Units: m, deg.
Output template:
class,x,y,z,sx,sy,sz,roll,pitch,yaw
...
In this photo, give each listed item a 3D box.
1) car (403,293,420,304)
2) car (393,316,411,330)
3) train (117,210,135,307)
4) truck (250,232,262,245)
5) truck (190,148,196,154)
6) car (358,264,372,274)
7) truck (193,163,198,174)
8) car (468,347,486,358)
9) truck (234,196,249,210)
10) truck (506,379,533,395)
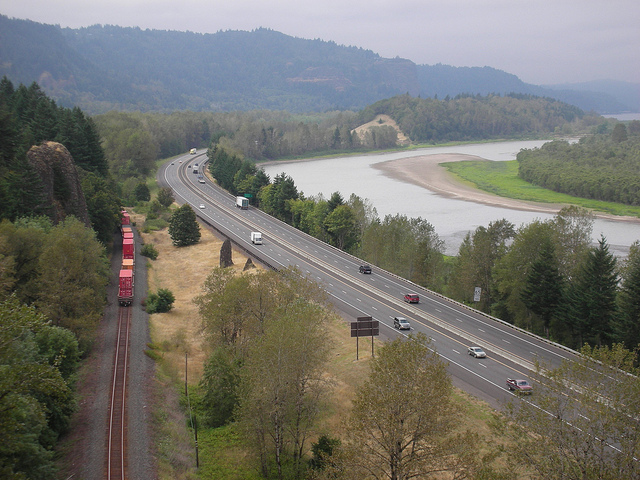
class,x,y,z,sx,sy,sz,roll,pitch,yaw
car,19.377,12.496,178.453,1.591,1.373,2.704,-2,12,-15
car,16.452,16.777,168.718,1.664,1.582,3.124,-3,1,-16
train,-44.716,4.539,191.922,3.644,6.150,39.817,0,19,-12
truck,-16.340,-0.767,211.628,1.453,2.383,4.417,0,4,-14
truck,-53.616,-37.477,347.611,2.639,3.862,3.829,-3,11,-5
car,10.379,6.775,194.467,1.477,1.431,2.689,-2,15,-10
truck,-45.722,-26.118,302.091,1.555,2.344,4.402,-2,21,-3
car,30.165,21.683,160.699,1.520,1.339,2.776,-4,4,-23
truck,-23.547,-11.598,249.980,2.179,3.938,6.585,-2,10,-17
truck,36.524,26.964,152.540,2.127,1.715,3.968,-3,8,-21
